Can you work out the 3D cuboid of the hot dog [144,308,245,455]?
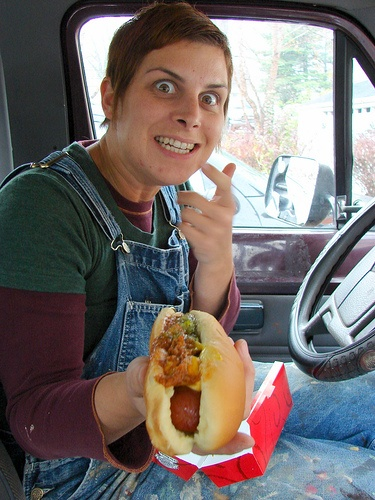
[{"bbox_3d":[0.023,0.195,0.670,0.163,0.097,0.315,-19,10,8],"label":"hot dog"}]
